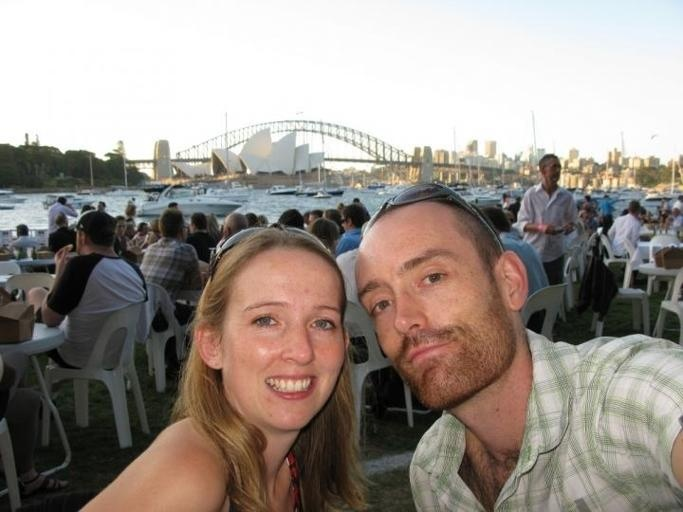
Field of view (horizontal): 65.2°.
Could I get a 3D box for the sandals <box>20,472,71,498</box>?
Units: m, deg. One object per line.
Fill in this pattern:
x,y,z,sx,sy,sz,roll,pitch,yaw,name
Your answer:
-2.047,1.565,3.716,0.292,0.135,0.113,-3,6,-24,sandals

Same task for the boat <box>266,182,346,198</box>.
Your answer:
-6.150,-10.981,91.758,10.650,1.733,10.100,4,7,19,boat
